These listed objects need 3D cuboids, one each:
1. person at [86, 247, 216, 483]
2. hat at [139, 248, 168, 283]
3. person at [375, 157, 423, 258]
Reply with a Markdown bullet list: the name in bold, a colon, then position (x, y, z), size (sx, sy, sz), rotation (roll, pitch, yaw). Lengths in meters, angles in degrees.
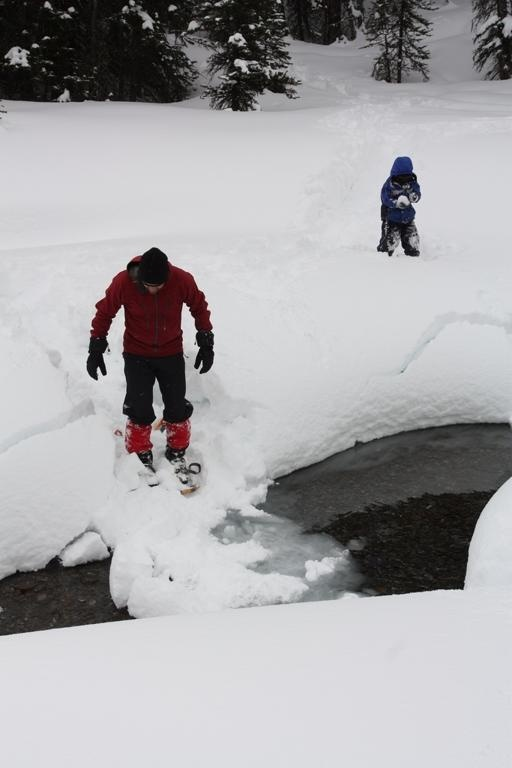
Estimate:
- **person**: position (-0.674, -0.107, 4.385), size (0.684, 1.480, 0.627), rotation (6, 20, 23)
- **hat**: position (-0.553, -0.636, 3.900), size (0.171, 0.195, 0.198), rotation (-4, 18, -8)
- **person**: position (1.483, -1.829, 7.536), size (0.431, 1.015, 0.498), rotation (2, 18, 11)
